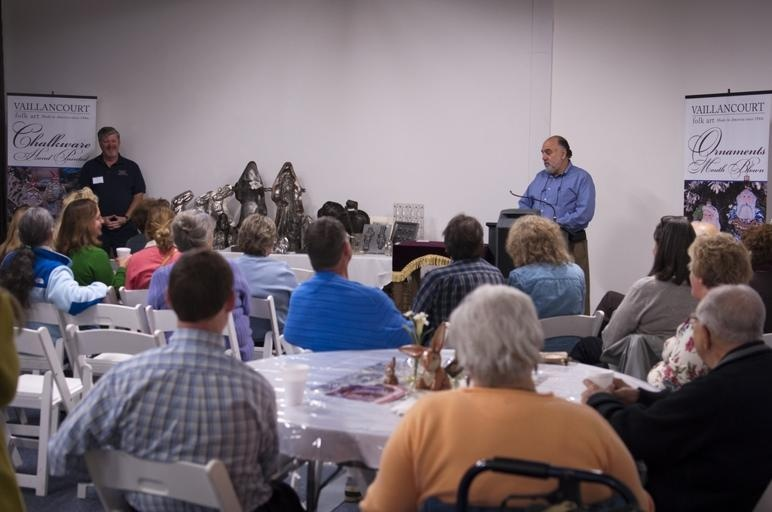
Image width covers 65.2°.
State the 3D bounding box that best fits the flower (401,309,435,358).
[{"bbox_3d":[0.152,0.355,2.860,0.096,0.172,0.097,1,-7,-15],"label":"flower"}]

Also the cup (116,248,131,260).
[{"bbox_3d":[-2.201,-0.031,5.034,0.122,0.109,0.129,1,8,0],"label":"cup"}]

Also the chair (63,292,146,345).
[{"bbox_3d":[-1.713,0.372,3.732,0.393,0.286,0.277,17,-18,-42],"label":"chair"}]

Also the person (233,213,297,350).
[{"bbox_3d":[-0.928,0.219,4.777,0.514,1.188,0.626,4,23,6],"label":"person"}]

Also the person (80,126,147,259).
[{"bbox_3d":[-3.495,-0.447,7.687,0.766,2.361,0.592,-2,16,-29],"label":"person"}]

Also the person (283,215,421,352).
[{"bbox_3d":[-0.282,0.094,3.380,0.786,0.811,0.476,9,22,17],"label":"person"}]

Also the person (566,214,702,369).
[{"bbox_3d":[1.595,0.360,3.763,0.589,1.093,0.876,11,-11,-27],"label":"person"}]

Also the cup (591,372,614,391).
[{"bbox_3d":[0.932,0.526,2.568,0.066,0.063,0.072,-3,-4,0],"label":"cup"}]

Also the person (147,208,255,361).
[{"bbox_3d":[-1.196,0.092,4.086,0.645,1.205,0.612,-1,38,1],"label":"person"}]

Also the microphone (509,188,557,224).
[{"bbox_3d":[1.589,-0.601,6.536,0.305,0.334,0.445,6,26,-49],"label":"microphone"}]

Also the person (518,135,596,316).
[{"bbox_3d":[1.796,-0.070,6.703,0.764,2.534,0.870,-5,7,-44],"label":"person"}]
